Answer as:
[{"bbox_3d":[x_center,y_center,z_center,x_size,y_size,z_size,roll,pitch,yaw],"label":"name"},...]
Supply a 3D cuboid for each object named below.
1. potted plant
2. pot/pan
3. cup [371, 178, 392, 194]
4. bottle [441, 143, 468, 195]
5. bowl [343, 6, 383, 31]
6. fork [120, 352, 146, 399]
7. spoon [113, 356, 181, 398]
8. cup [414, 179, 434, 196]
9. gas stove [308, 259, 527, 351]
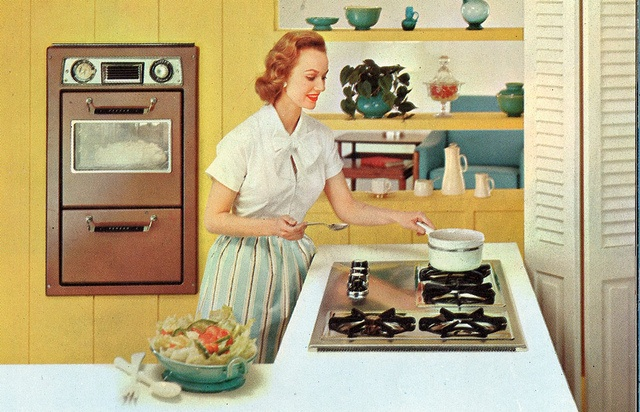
[{"bbox_3d":[0.361,-0.754,3.869,0.466,0.385,0.569,2,9,-9],"label":"potted plant"},{"bbox_3d":[0.516,0.172,2.327,0.130,0.103,0.236,-3,3,-30],"label":"pot/pan"},{"bbox_3d":[0.404,-0.122,3.932,0.123,0.083,0.091,1,-3,-23],"label":"cup"},{"bbox_3d":[0.877,-0.243,3.950,0.165,0.328,0.223,-2,12,13],"label":"bottle"},{"bbox_3d":[0.268,-1.169,3.777,0.171,0.111,0.173,0,2,0],"label":"bowl"},{"bbox_3d":[-0.583,0.513,1.828,0.053,0.007,0.148,2,19,-12],"label":"fork"},{"bbox_3d":[-0.533,0.510,1.805,0.092,0.040,0.283,-10,14,-29],"label":"spoon"},{"bbox_3d":[0.676,-0.123,3.921,0.080,0.087,0.126,0,0,9],"label":"cup"},{"bbox_3d":[0.348,0.366,2.217,0.756,0.100,0.818,-2,13,-3],"label":"gas stove"}]
